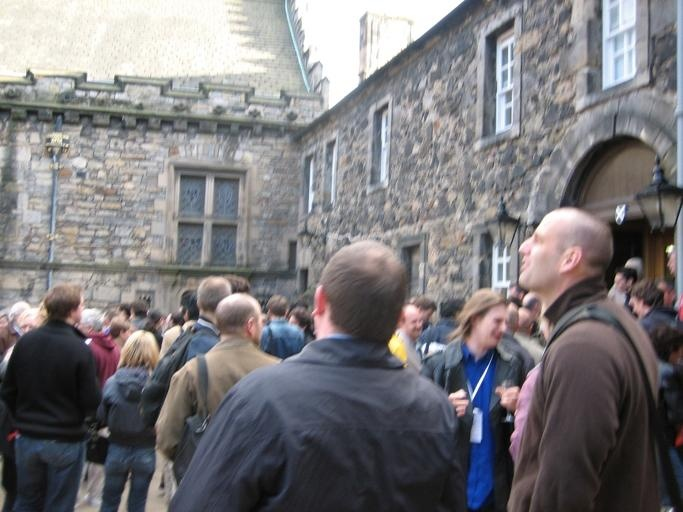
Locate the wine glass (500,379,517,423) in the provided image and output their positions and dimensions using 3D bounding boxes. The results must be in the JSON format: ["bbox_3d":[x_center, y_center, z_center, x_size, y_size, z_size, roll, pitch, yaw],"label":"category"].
[{"bbox_3d":[1.633,1.404,10.534,0.121,0.336,0.228,6,-5,-37],"label":"wine glass"}]

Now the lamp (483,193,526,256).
[{"bbox_3d":[2.251,-0.484,14.976,0.574,1.024,0.617,1,-8,-2],"label":"lamp"}]
